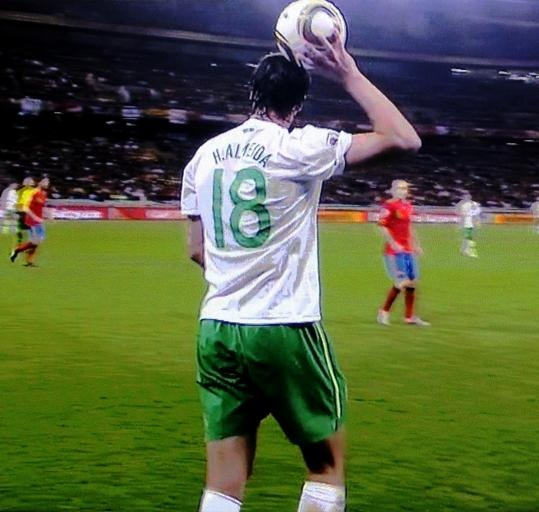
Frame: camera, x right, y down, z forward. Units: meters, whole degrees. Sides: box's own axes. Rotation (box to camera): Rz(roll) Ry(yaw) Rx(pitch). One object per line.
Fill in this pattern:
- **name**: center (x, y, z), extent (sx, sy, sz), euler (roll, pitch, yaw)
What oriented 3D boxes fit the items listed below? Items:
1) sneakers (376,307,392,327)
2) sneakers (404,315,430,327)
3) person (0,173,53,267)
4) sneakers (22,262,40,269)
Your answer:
- **sneakers**: center (1.425, 0.771, 7.514), extent (0.146, 0.194, 0.211), euler (-3, -37, 4)
- **sneakers**: center (1.820, 0.800, 7.483), extent (0.345, 0.119, 0.114), euler (3, 6, 17)
- **person**: center (-4.927, -0.739, 12.316), extent (0.674, 1.847, 0.995), euler (1, 4, -21)
- **sneakers**: center (-4.892, 0.148, 12.290), extent (0.282, 0.100, 0.577), euler (1, 3, -21)
